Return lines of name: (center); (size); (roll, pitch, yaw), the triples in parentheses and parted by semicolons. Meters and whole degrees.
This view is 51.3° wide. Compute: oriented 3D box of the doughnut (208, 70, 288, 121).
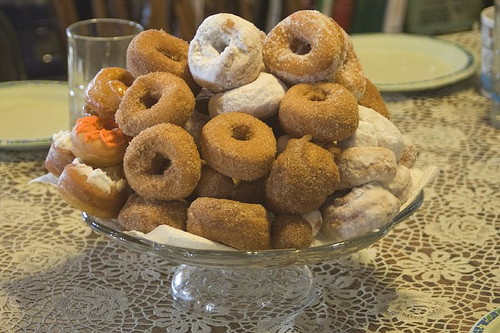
doughnut: (-0.011, -0.132, 0.889); (0.094, 0.032, 0.095); (-4, 14, 44)

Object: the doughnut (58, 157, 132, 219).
doughnut: (-0.265, 0.037, 0.899); (0.116, 0.069, 0.118); (29, 6, 29)

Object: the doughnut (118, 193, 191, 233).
doughnut: (-0.159, 0.078, 0.861); (0.094, 0.031, 0.068); (8, 32, 16)

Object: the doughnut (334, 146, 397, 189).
doughnut: (0.197, -0.002, 0.879); (0.083, 0.030, 0.081); (-5, -4, -25)

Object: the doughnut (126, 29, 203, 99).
doughnut: (-0.121, -0.207, 0.995); (0.206, 0.067, 0.198); (-1, -2, -2)

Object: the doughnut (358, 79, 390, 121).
doughnut: (0.232, -0.125, 1.008); (0.074, 0.026, 0.078); (45, 6, 12)

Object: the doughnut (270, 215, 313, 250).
doughnut: (0.069, 0.110, 0.862); (0.069, 0.047, 0.056); (5, 37, 7)

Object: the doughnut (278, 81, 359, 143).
doughnut: (0.118, -0.090, 0.903); (0.133, 0.088, 0.119); (3, 36, 4)

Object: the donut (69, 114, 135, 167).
donut: (-0.258, -0.055, 0.942); (0.129, 0.045, 0.115); (2, 36, -19)

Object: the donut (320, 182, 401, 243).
donut: (0.196, 0.096, 0.909); (0.125, 0.039, 0.095); (-28, 38, -15)

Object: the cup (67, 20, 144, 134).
cup: (-0.365, -0.195, 1.299); (0.175, 0.252, 0.168); (0, -8, 0)

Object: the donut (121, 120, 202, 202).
donut: (-0.145, -0.006, 0.863); (0.126, 0.126, 0.097); (-2, 37, -3)

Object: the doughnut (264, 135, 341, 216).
doughnut: (0.082, 0.019, 0.864); (0.107, 0.123, 0.088); (-28, 46, -32)

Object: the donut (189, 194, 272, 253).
donut: (-0.038, 0.088, 0.878); (0.145, 0.065, 0.150); (17, 8, 25)

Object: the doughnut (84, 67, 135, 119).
doughnut: (-0.262, -0.132, 0.985); (0.100, 0.035, 0.097); (-25, 57, -16)

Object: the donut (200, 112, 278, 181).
donut: (-0.018, -0.029, 0.866); (0.123, 0.094, 0.096); (6, 37, 8)
